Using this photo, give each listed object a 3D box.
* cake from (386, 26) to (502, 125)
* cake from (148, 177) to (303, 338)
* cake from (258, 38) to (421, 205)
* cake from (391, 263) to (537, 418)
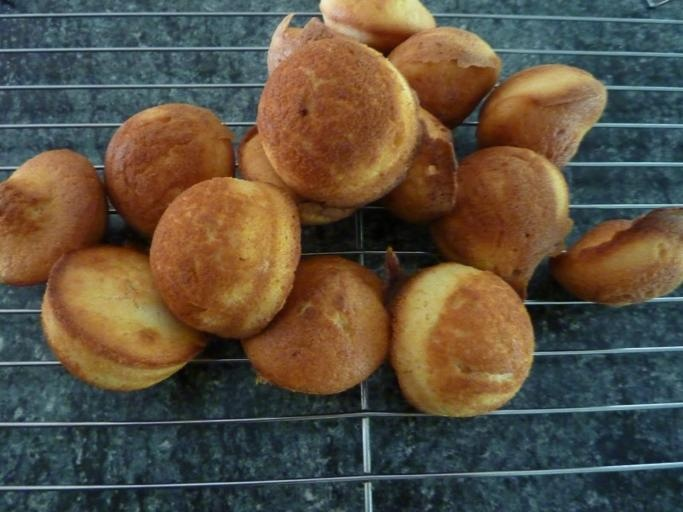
[{"bbox_3d":[0.217,-0.381,1.980,0.190,0.122,0.205,-15,106,-2],"label":"cake"},{"bbox_3d":[-0.225,-0.001,1.829,0.281,0.177,0.266,0,62,-5],"label":"cake"},{"bbox_3d":[-0.007,-0.260,1.834,0.313,0.210,0.256,6,62,-2],"label":"cake"},{"bbox_3d":[0.232,0.164,1.894,0.275,0.196,0.279,4,61,-3],"label":"cake"}]
